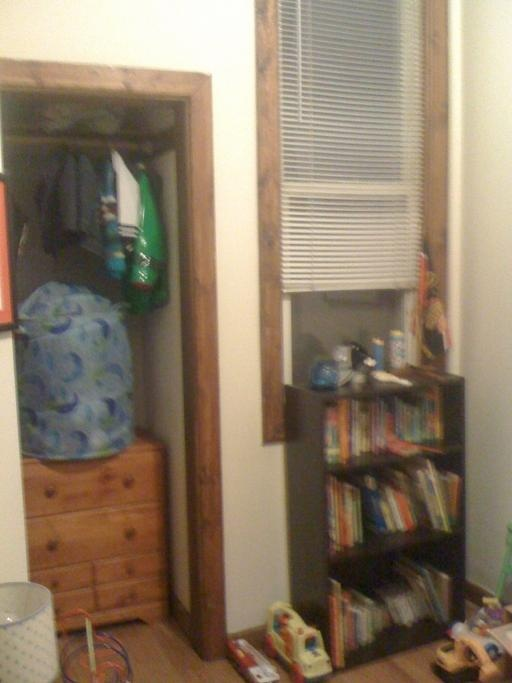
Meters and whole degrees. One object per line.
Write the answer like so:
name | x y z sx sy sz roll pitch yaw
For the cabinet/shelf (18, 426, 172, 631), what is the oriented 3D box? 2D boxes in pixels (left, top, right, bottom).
cabinet/shelf | -0.678 0.787 2.866 0.508 0.666 0.348 -3 5 -23

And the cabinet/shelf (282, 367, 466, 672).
cabinet/shelf | 0.473 0.639 2.458 0.588 0.962 0.291 -4 1 -15
